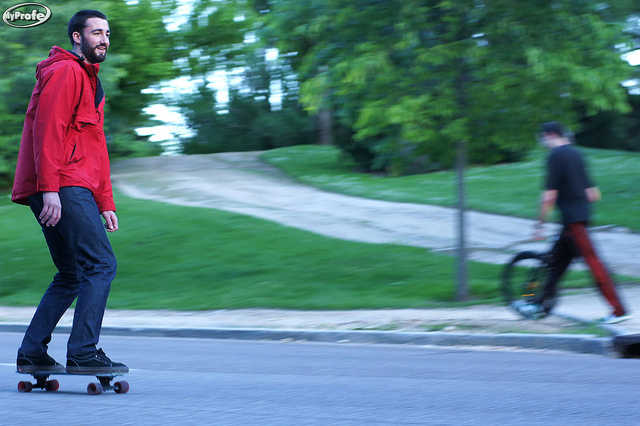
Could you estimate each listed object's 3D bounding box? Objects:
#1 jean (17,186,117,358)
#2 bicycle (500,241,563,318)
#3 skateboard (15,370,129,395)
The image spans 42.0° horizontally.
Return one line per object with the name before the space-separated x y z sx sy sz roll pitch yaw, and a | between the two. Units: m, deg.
jean | -2.442 0.556 7.998 0.789 1.654 0.696 -6 11 35
bicycle | 2.935 0.868 11.298 1.027 0.972 0.630 18 9 6
skateboard | -2.429 1.646 8.089 0.906 0.113 0.380 1 -7 8
